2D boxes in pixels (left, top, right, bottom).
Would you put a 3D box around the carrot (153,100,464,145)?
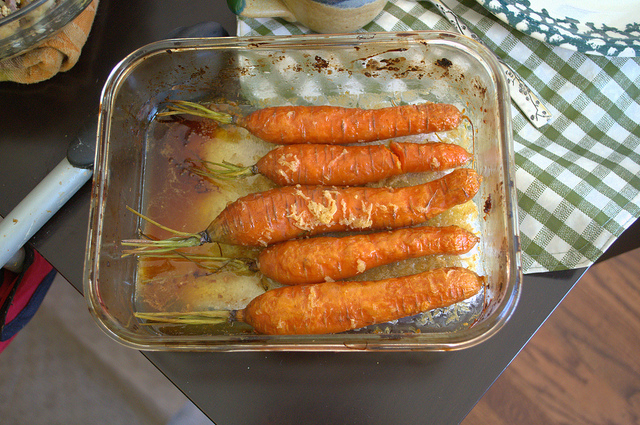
[{"bbox_3d":[-0.005,-0.370,2.806,0.836,0.133,0.144,-2,67,2],"label":"carrot"}]
